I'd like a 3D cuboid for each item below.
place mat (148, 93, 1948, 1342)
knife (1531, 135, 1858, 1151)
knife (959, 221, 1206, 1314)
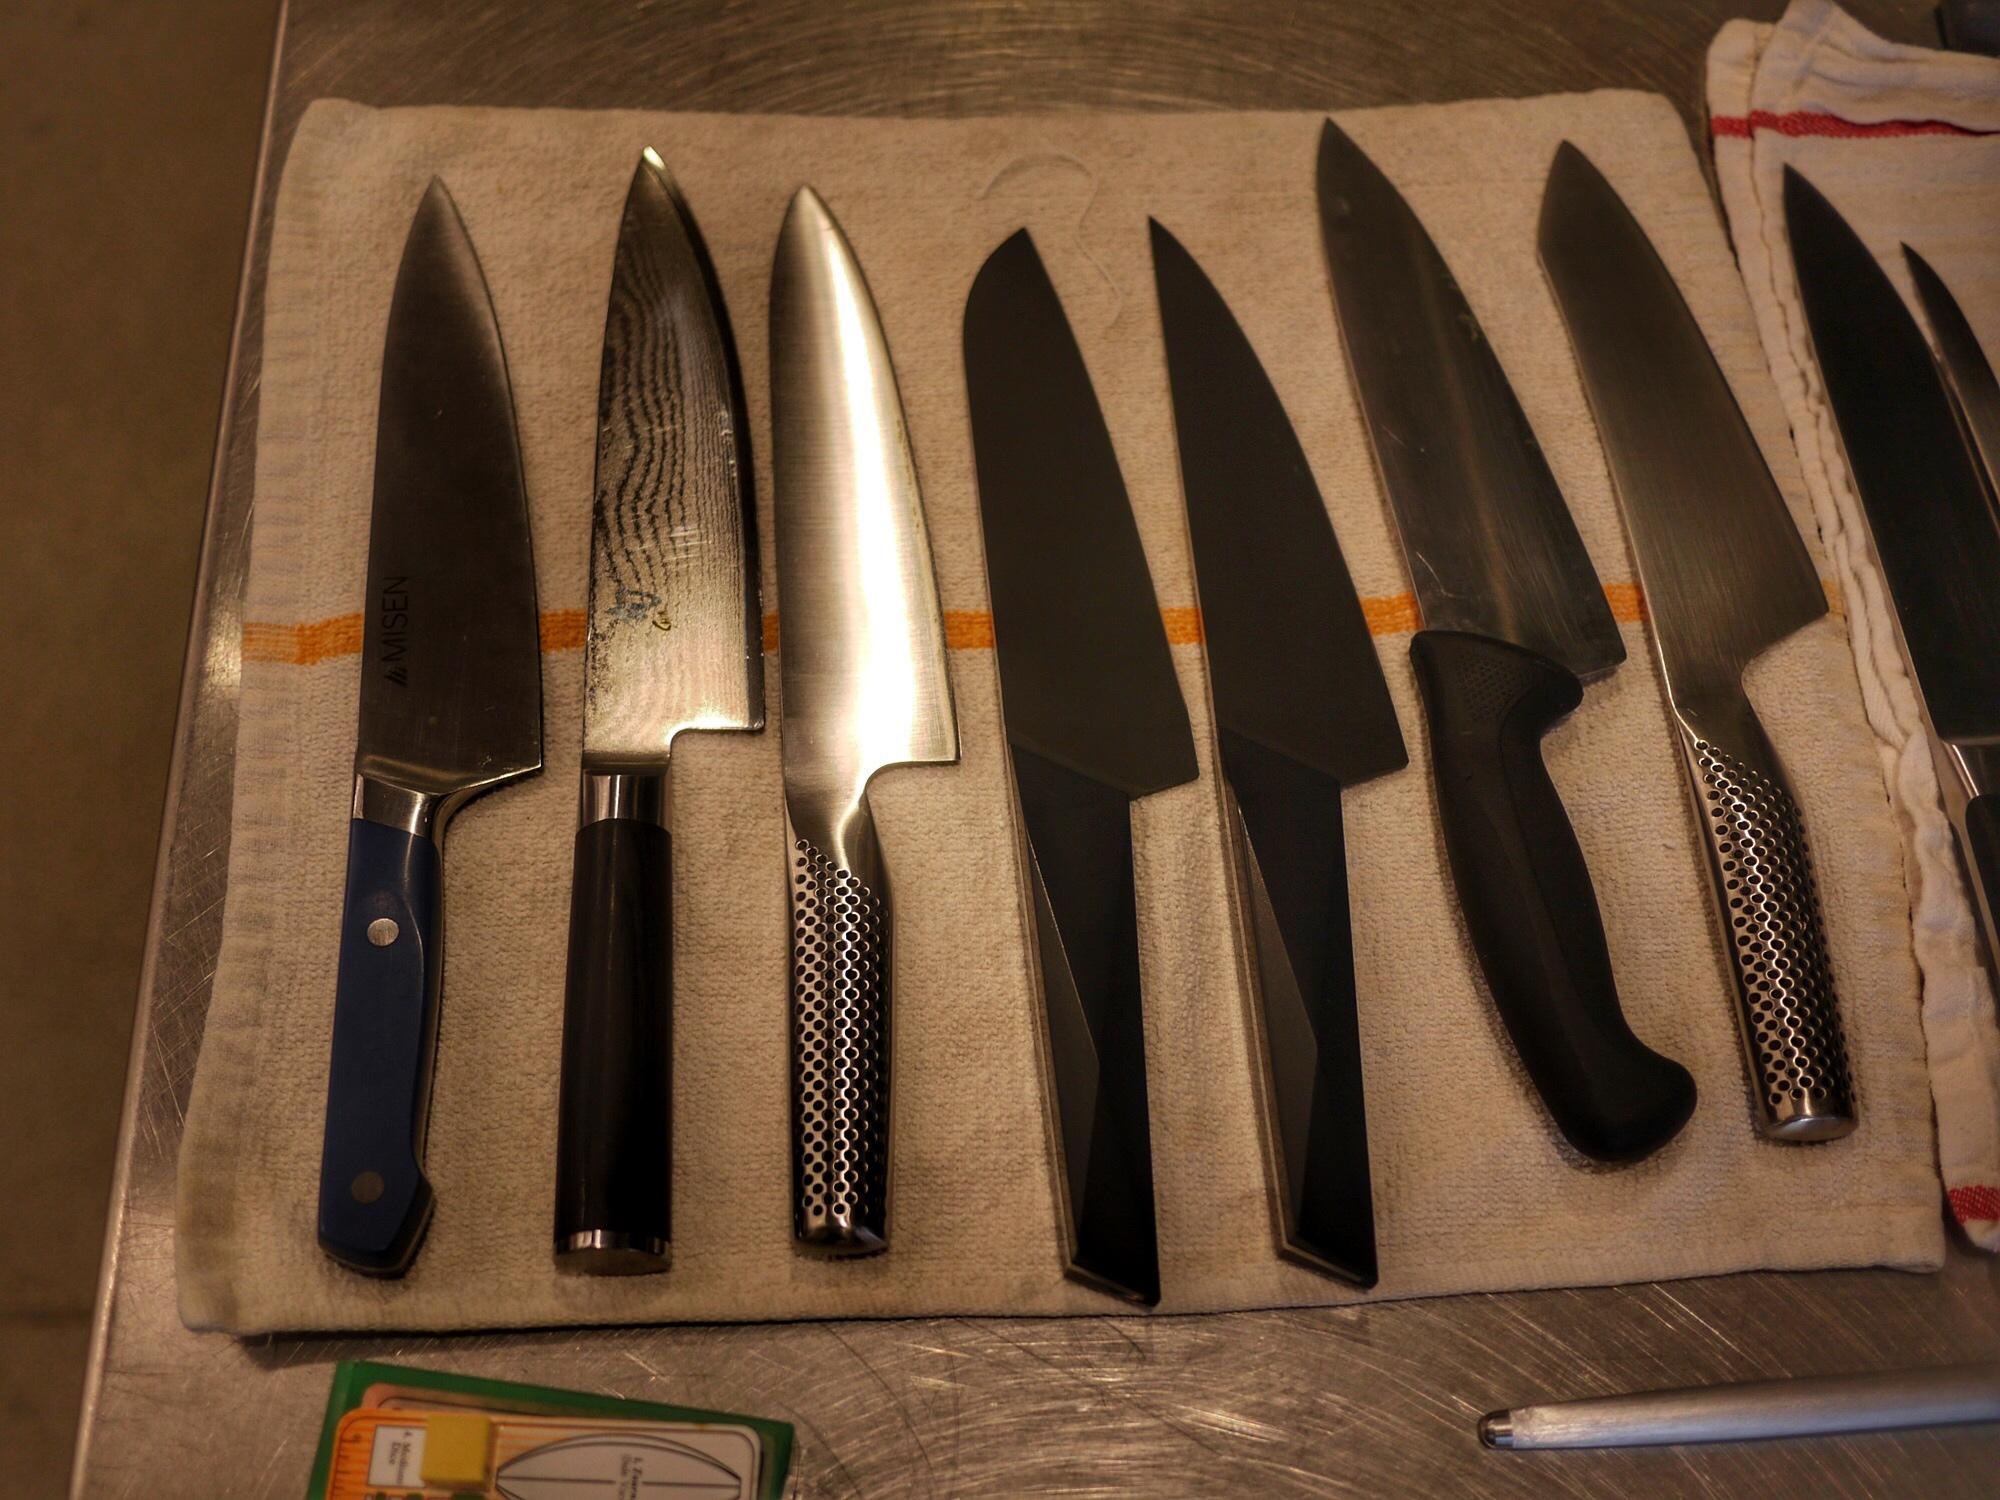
[{"bbox_3d":[0.058,0.076,1.719,0.978,0.073,0.790,-3,73,-2],"label":"place mat"},{"bbox_3d":[0.464,-0.096,1.388,0.116,0.058,0.666,-8,68,0],"label":"knife"},{"bbox_3d":[0.052,-0.009,1.244,0.114,0.045,0.659,-6,70,-2],"label":"knife"}]
